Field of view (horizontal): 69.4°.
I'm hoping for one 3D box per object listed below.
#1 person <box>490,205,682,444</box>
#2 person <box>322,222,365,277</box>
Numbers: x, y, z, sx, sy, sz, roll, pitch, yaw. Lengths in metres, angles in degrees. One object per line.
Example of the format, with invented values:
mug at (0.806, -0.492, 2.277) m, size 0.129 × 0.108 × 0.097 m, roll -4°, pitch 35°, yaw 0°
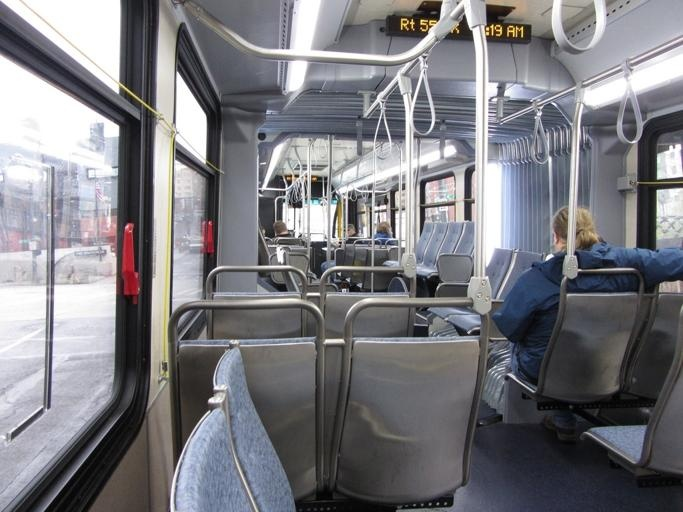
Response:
person at (1.355, 0.263, 3.264) m, size 0.844 × 1.235 × 1.163 m, roll 0°, pitch 1°, yaw -7°
person at (0.122, -0.223, 11.246) m, size 1.065 × 1.677 × 1.180 m, roll 2°, pitch 4°, yaw -4°
